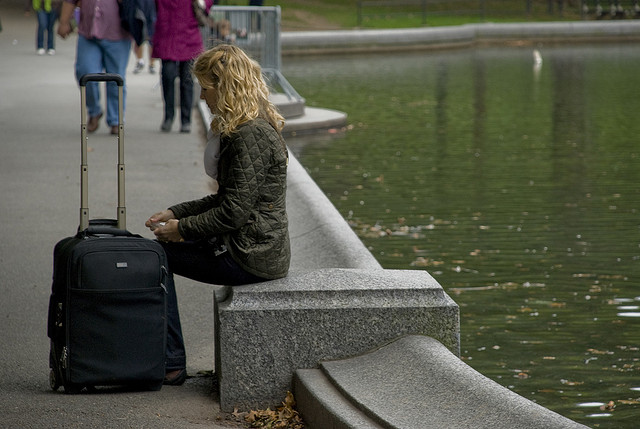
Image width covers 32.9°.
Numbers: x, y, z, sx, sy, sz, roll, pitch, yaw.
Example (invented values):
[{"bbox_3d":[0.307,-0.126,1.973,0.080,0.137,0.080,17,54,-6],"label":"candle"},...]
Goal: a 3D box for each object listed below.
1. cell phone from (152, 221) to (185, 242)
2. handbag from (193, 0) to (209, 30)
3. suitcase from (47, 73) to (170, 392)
[{"bbox_3d":[-1.065,0.112,7.467,0.196,0.066,0.144,28,8,22],"label":"cell phone"},{"bbox_3d":[-1.419,-2.402,13.002,0.265,0.284,0.278,-3,-17,-2],"label":"handbag"},{"bbox_3d":[-1.467,0.128,7.546,0.976,2.180,0.877,0,0,-10],"label":"suitcase"}]
